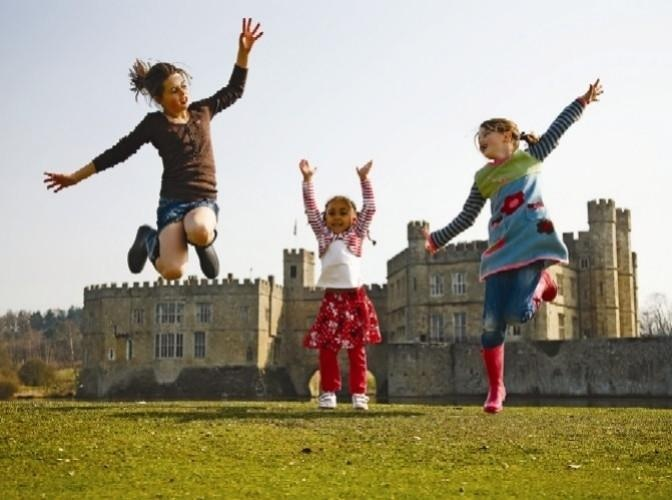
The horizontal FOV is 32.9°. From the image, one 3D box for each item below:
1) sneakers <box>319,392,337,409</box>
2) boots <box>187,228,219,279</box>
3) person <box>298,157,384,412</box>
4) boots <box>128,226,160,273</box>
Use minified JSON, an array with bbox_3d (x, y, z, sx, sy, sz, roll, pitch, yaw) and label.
[{"bbox_3d":[-0.115,1.962,14.850,0.194,0.201,0.272,3,-5,-3],"label":"sneakers"},{"bbox_3d":[-1.436,-0.008,12.409,0.182,0.252,0.736,-8,-33,-1],"label":"boots"},{"bbox_3d":[0.063,0.472,14.873,1.050,3.197,0.578,2,-5,3],"label":"person"},{"bbox_3d":[-2.178,-0.011,13.064,0.243,0.563,0.188,26,-2,-4],"label":"boots"}]
